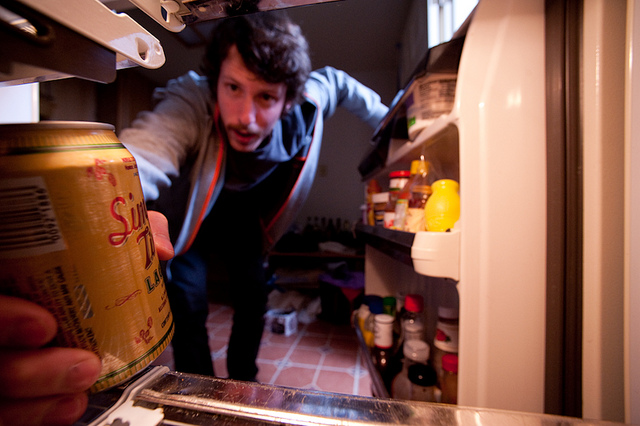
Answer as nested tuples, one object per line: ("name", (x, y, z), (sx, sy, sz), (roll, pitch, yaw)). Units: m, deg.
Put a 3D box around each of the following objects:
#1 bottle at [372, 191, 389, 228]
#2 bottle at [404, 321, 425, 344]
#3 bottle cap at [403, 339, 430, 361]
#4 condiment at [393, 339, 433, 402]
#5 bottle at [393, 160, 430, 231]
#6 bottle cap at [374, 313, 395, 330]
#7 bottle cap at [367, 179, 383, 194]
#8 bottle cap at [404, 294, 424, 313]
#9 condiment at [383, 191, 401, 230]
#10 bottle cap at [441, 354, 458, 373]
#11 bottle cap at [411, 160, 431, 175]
("bottle", (0.209, -0.006, 1.569), (0.098, 0.107, 0.097), (2, 7, 9))
("bottle", (0.313, 0.376, 1.466), (0.068, 0.065, 0.067), (0, 2, -5))
("bottle cap", (0.288, 0.399, 1.335), (0.058, 0.033, 0.057), (0, 5, 4))
("condiment", (0.261, 0.495, 1.331), (0.081, 0.149, 0.086), (20, -41, -22))
("bottle", (0.285, -0.044, 1.302), (0.120, 0.203, 0.118), (2, 2, 0))
("bottle cap", (0.225, 0.365, 1.549), (0.053, 0.048, 0.052), (1, 9, 3))
("bottle cap", (0.209, -0.102, 1.732), (0.040, 0.050, 0.051), (-2, -10, 2))
("bottle cap", (0.290, 0.276, 1.392), (0.057, 0.043, 0.057), (1, 11, 2))
("condiment", (0.222, 0.000, 1.447), (0.084, 0.103, 0.084), (3, 0, 12))
("bottle cap", (0.333, 0.384, 1.167), (0.040, 0.029, 0.040), (0, 2, 4))
("bottle cap", (0.273, -0.127, 1.244), (0.043, 0.026, 0.042), (4, 6, 21))
